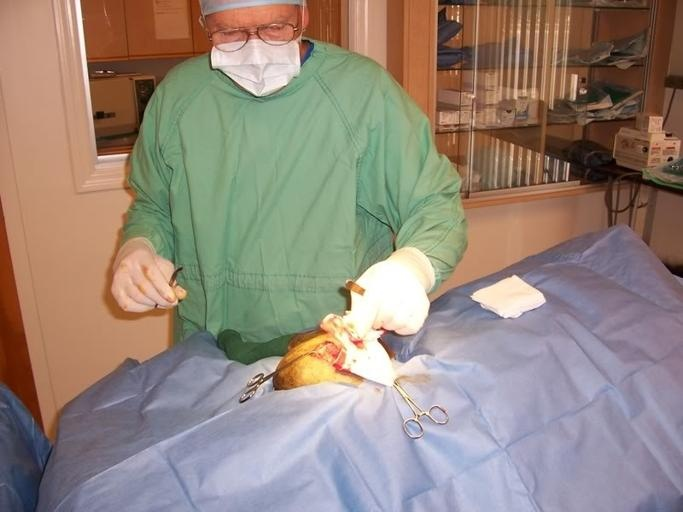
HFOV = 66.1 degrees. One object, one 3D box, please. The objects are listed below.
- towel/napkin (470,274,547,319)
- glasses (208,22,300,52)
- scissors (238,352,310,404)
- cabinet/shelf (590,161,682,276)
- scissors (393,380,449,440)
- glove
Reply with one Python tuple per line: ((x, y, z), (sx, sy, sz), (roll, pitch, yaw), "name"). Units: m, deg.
((0.439, 0.108, 1.383), (0.168, 0.050, 0.131), (-13, 30, -21), "towel/napkin")
((-0.237, -0.597, 1.415), (0.246, 0.072, 0.091), (-4, 27, -6), "glasses")
((-0.149, 0.291, 1.250), (0.073, 0.015, 0.228), (-33, 4, 45), "scissors")
((1.501, -0.237, 2.679), (0.402, 0.436, 0.430), (-12, 30, -18), "cabinet/shelf")
((0.184, 0.373, 1.178), (0.101, 0.009, 0.184), (-31, -18, 20), "scissors")
((0.116, 0.092, 1.338), (0.212, 0.172, 0.092), (-33, 9, -19), "glove")
